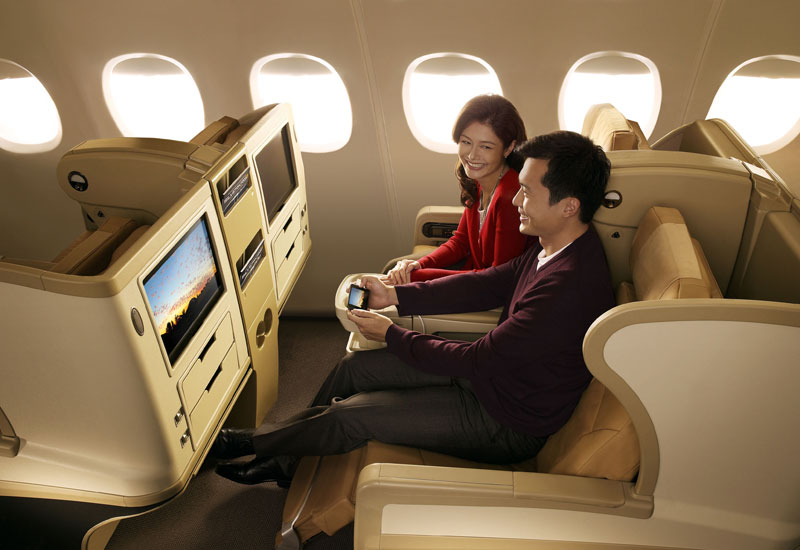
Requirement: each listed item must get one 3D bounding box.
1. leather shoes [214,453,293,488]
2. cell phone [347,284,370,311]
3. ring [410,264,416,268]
[{"bbox_3d":[-0.724,0.971,2.839,0.355,0.255,0.128,9,34,-3],"label":"leather shoes"},{"bbox_3d":[-0.197,0.108,2.673,0.111,0.015,0.157,7,52,-4],"label":"cell phone"},{"bbox_3d":[0.063,-0.048,2.974,0.016,0.022,0.024,2,33,9],"label":"ring"}]
